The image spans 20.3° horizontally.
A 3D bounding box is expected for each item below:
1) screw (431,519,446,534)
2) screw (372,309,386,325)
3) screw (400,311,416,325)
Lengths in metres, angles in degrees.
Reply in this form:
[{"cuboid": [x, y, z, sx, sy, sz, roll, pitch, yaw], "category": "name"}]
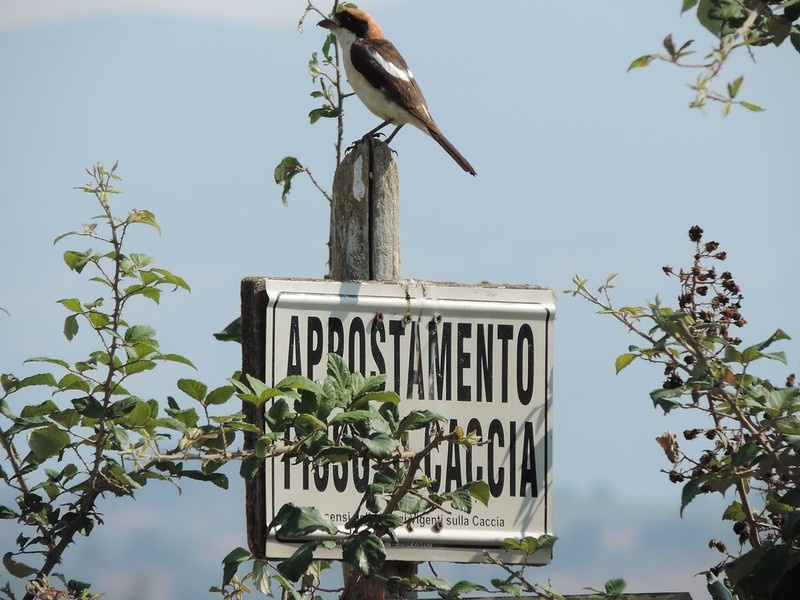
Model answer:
[{"cuboid": [0.181, 1.065, 10.506, 0.046, 0.069, 0.025, 9, -9, -18], "category": "screw"}, {"cuboid": [-0.101, 0.083, 10.582, 0.044, 0.070, 0.023, -1, 7, -7], "category": "screw"}, {"cuboid": [0.039, 0.088, 10.598, 0.044, 0.072, 0.024, 5, 6, -1], "category": "screw"}]
